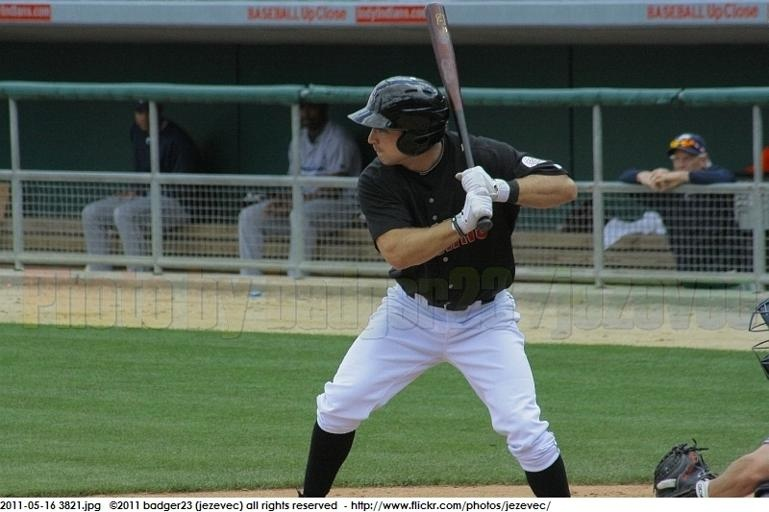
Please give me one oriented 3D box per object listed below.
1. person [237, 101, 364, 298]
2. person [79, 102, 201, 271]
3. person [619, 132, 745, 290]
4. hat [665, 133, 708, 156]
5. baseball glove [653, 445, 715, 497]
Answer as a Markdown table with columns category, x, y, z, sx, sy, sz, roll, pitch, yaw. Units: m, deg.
| category | x | y | z | sx | sy | sz | roll | pitch | yaw |
| --- | --- | --- | --- | --- | --- | --- | --- | --- | --- |
| person | -0.723 | -0.593 | 15.484 | 0.969 | 1.821 | 1.251 | -3 | -3 | 42 |
| person | -2.204 | -0.614 | 15.674 | 0.857 | 1.635 | 1.042 | 5 | 8 | 35 |
| person | 2.482 | -0.326 | 15.037 | 0.993 | 1.435 | 0.696 | 0 | -9 | 7 |
| hat | 2.599 | -0.943 | 15.045 | 0.286 | 0.130 | 0.206 | 5 | -1 | -44 |
| baseball glove | 2.112 | 1.516 | 12.514 | 0.447 | 0.365 | 0.319 | 5 | -22 | 18 |
